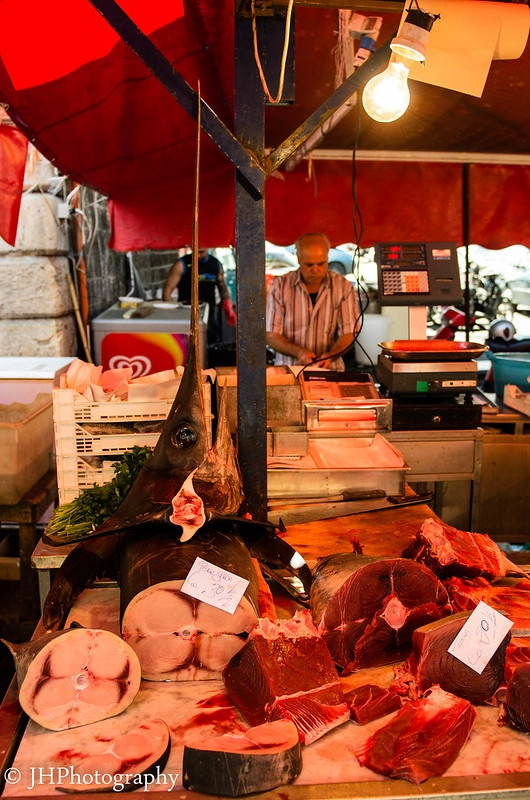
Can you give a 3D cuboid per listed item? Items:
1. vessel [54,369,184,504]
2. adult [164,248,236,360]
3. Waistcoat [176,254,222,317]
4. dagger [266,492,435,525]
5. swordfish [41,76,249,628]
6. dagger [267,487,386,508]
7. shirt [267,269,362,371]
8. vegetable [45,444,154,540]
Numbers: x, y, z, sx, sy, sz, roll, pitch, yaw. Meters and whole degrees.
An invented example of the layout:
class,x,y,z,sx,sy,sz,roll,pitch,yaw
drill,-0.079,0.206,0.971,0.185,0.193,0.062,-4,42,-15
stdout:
class,x,y,z,sx,sy,sz,roll,pitch,yaw
vessel,-0.605,0.106,2.485,0.631,0.365,0.449,-2,6,-16
adult,-0.800,-1.098,7.865,0.976,2.032,0.586,-6,41,-18
Waistcoat,-0.781,-1.429,7.745,0.589,0.714,0.410,-9,17,-23
dagger,0.313,0.437,2.520,0.788,0.034,0.197,-4,25,-9
swordfish,-0.269,-0.093,1.711,0.203,1.363,0.523,5,-12,20
dagger,0.272,0.405,2.589,0.565,0.041,0.093,-1,-28,3
shirt,0.393,-0.708,5.224,0.774,0.891,0.439,-1,53,4
vegetable,-0.495,0.290,2.196,0.140,0.174,0.583,12,24,27
